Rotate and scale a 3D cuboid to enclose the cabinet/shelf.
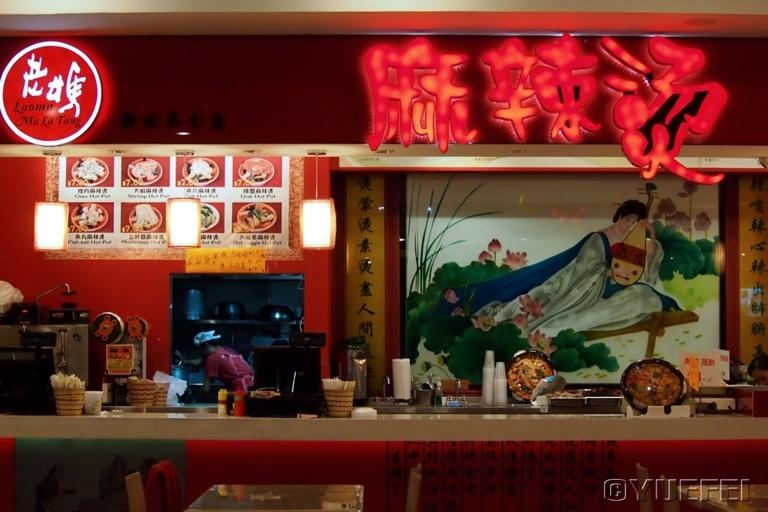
[{"bbox_3d":[-1.437,0.737,7.269,1.200,1.105,0.389,0,-5,-1],"label":"cabinet/shelf"}]

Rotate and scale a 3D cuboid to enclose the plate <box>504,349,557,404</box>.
[{"bbox_3d":[1.317,1.070,6.815,0.431,0.455,0.177,-3,2,1],"label":"plate"}]

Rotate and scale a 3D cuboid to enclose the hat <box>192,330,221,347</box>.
[{"bbox_3d":[-1.756,0.818,7.496,0.156,0.087,0.206,-20,-12,12],"label":"hat"}]

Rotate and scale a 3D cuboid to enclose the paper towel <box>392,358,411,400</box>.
[{"bbox_3d":[0.167,1.135,6.915,0.145,0.372,0.079,0,-6,-11],"label":"paper towel"}]

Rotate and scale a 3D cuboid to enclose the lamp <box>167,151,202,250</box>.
[{"bbox_3d":[-1.761,-0.302,6.686,0.266,0.439,0.255,0,-6,-10],"label":"lamp"}]

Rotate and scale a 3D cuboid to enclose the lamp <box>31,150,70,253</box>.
[{"bbox_3d":[-3.170,-0.522,7.229,0.296,0.964,0.575,1,-6,-23],"label":"lamp"}]

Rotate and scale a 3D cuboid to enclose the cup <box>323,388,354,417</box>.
[{"bbox_3d":[-0.363,1.195,6.173,0.226,0.169,0.228,0,-5,0],"label":"cup"}]

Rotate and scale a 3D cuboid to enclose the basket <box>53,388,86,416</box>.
[{"bbox_3d":[-2.566,1.196,6.179,0.206,0.160,0.215,7,-11,-42],"label":"basket"}]

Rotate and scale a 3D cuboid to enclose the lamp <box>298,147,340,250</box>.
[{"bbox_3d":[-0.617,-0.521,7.065,0.297,0.955,0.787,0,-6,-6],"label":"lamp"}]

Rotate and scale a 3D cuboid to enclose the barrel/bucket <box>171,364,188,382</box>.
[{"bbox_3d":[-2.011,1.147,7.370,0.155,0.177,0.156,1,-5,0],"label":"barrel/bucket"}]

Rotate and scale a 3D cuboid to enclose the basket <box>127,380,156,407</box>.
[{"bbox_3d":[-2.100,1.188,6.618,0.230,0.202,0.232,0,-3,6],"label":"basket"}]

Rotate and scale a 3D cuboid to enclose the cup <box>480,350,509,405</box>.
[{"bbox_3d":[0.994,1.099,6.829,0.221,0.474,0.233,-1,-6,0],"label":"cup"}]

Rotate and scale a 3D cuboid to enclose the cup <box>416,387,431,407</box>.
[{"bbox_3d":[0.365,1.281,6.819,0.129,0.134,0.126,0,-1,0],"label":"cup"}]

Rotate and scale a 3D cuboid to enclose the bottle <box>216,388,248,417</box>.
[{"bbox_3d":[-1.268,1.236,6.315,0.320,0.291,0.123,0,-4,20],"label":"bottle"}]

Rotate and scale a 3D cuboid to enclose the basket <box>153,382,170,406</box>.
[{"bbox_3d":[-1.982,1.236,6.736,0.190,0.199,0.181,7,-8,-43],"label":"basket"}]

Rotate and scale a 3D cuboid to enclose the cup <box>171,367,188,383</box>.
[{"bbox_3d":[-2.008,1.174,7.459,0.144,0.161,0.143,1,-1,0],"label":"cup"}]

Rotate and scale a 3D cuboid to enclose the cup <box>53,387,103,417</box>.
[{"bbox_3d":[-2.507,1.206,6.201,0.241,0.136,0.282,1,-13,-4],"label":"cup"}]

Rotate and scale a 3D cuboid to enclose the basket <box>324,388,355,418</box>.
[{"bbox_3d":[-0.361,1.201,6.177,0.227,0.170,0.226,-1,-5,5],"label":"basket"}]
